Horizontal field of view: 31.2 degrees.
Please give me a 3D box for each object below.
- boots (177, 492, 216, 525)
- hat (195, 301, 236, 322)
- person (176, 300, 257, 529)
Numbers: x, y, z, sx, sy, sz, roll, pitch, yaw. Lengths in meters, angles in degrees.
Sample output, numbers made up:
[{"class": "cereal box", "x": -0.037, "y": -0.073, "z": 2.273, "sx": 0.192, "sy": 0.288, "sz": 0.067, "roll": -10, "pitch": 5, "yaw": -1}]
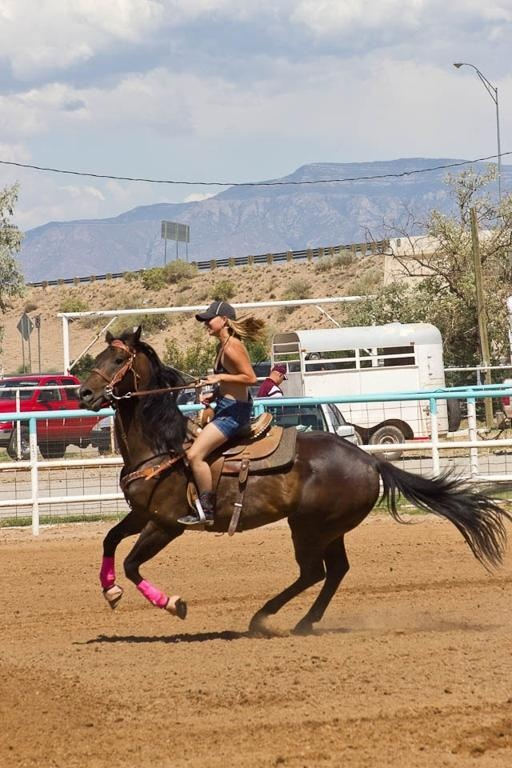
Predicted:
[{"class": "boots", "x": -0.406, "y": 0.864, "z": 6.253, "sx": 0.241, "sy": 0.239, "sz": 0.188, "roll": -1, "pitch": 1, "yaw": 0}, {"class": "hat", "x": -0.273, "y": -0.504, "z": 6.242, "sx": 0.240, "sy": 0.113, "sz": 0.140, "roll": 5, "pitch": -5, "yaw": -4}, {"class": "person", "x": -0.229, "y": 0.204, "z": 6.300, "sx": 0.612, "sy": 1.546, "sz": 0.546, "roll": -3, "pitch": 2, "yaw": -41}]
